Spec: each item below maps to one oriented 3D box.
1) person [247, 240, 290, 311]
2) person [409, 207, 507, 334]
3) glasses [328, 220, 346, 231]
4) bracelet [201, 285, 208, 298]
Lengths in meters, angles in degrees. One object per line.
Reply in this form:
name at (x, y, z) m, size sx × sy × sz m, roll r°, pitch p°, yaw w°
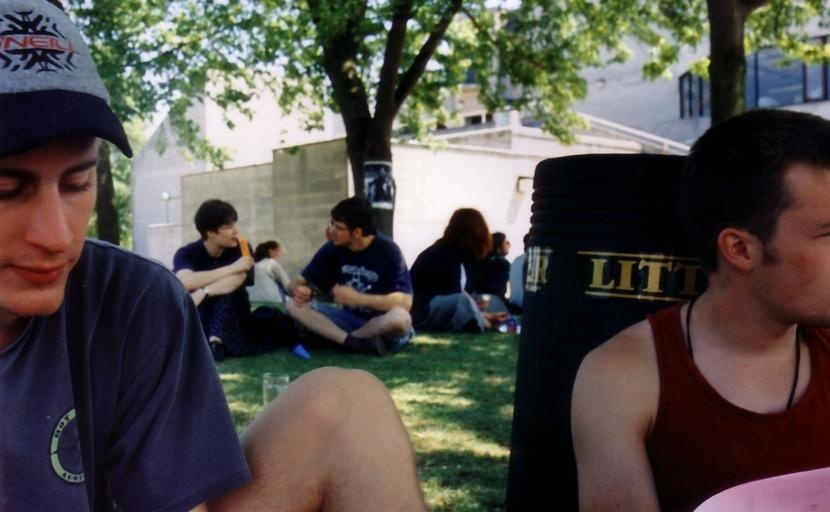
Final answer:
person at (-1.881, 0.275, 9.964) m, size 0.541 × 0.966 × 0.499 m, roll -3°, pitch 11°, yaw 18°
person at (0.492, 0.177, 8.386) m, size 0.972 × 1.326 × 1.340 m, roll 5°, pitch 3°, yaw 8°
glasses at (-0.679, -0.276, 6.712) m, size 0.111 × 0.037 × 0.108 m, roll 10°, pitch 3°, yaw -30°
bracelet at (-1.738, 0.280, 6.332) m, size 0.046 × 0.067 × 0.072 m, roll -14°, pitch 18°, yaw -30°
